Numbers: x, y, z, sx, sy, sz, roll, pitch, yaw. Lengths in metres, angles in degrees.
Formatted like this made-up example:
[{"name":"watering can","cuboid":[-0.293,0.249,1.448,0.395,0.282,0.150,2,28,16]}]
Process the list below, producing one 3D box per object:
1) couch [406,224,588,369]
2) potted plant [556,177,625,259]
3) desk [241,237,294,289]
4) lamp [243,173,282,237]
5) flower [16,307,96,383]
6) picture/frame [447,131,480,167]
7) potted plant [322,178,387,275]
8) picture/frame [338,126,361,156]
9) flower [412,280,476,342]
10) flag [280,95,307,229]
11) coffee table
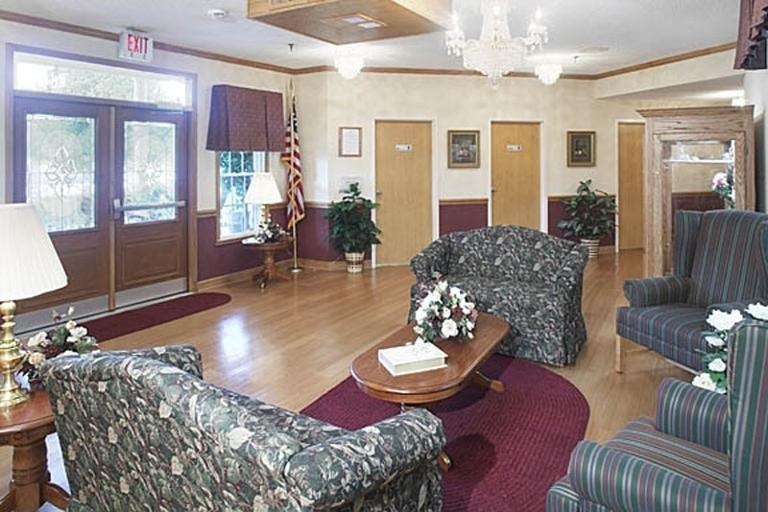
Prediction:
[{"name":"couch","cuboid":[1.203,0.329,5.412,1.699,1.142,0.995,5,14,31]},{"name":"potted plant","cuboid":[3.862,-0.642,9.464,0.949,1.105,0.823,-4,8,19]},{"name":"desk","cuboid":[-1.821,0.016,8.110,0.675,0.699,1.122,-3,13,-11]},{"name":"lamp","cuboid":[-1.807,-0.825,7.736,0.515,0.934,0.521,13,28,13]},{"name":"flower","cuboid":[-2.382,0.612,3.666,0.450,0.343,0.472,12,13,43]},{"name":"picture/frame","cuboid":[1.371,-1.909,9.017,0.623,0.701,0.050,0,8,-8]},{"name":"potted plant","cuboid":[-0.523,-0.497,8.632,0.899,1.458,0.484,-2,13,-8]},{"name":"picture/frame","cuboid":[-0.594,-1.943,8.563,0.483,0.556,0.043,-2,5,-27]},{"name":"flower","cuboid":[0.449,0.400,4.267,0.482,0.367,0.506,-1,3,-16]},{"name":"flag","cuboid":[-1.529,-1.532,8.624,0.340,2.159,0.485,-4,14,-17]},{"name":"coffee table","cuboid":[0.451,0.988,4.227,0.920,0.643,1.769,6,14,29]}]
